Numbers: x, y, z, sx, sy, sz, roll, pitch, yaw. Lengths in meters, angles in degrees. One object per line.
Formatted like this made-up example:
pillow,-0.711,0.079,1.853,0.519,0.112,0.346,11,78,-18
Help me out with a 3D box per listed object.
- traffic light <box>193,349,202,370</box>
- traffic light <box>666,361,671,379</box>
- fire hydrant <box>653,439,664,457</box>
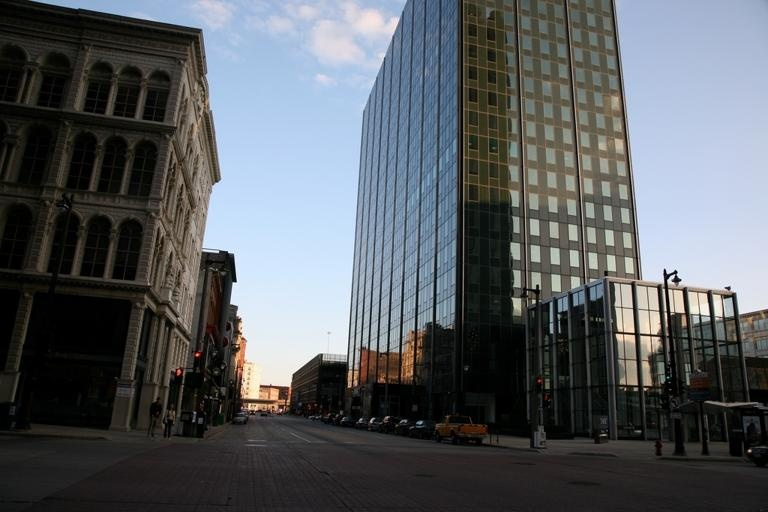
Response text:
traffic light,-13.526,7.556,41.999,0.467,1.220,1.248,8,-18,-20
traffic light,20.667,8.392,41.967,0.313,1.090,1.972,-6,-18,23
fire hydrant,18.948,13.256,39.950,0.395,1.077,0.796,-3,-17,15
